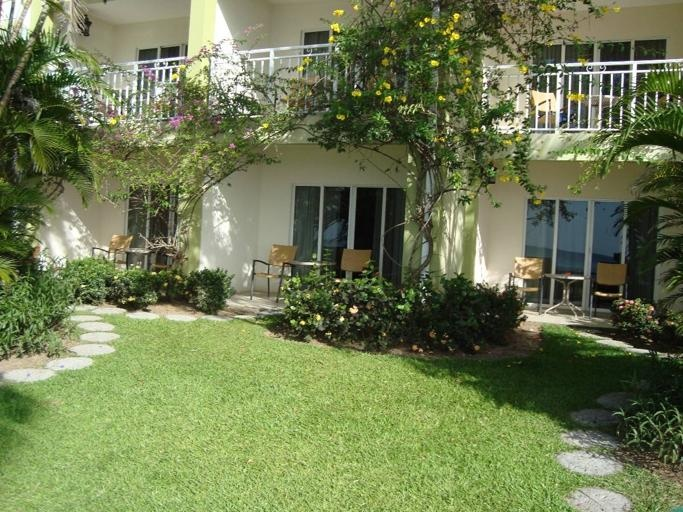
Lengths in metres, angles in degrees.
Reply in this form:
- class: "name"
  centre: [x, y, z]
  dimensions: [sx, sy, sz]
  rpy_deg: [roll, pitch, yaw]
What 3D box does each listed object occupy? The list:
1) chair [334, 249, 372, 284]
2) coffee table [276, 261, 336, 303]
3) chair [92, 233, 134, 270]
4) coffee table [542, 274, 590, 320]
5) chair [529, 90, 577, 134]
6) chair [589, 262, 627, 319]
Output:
- class: "chair"
  centre: [0.346, 0.154, 11.854]
  dimensions: [0.617, 0.827, 0.629]
  rpy_deg: [6, -1, 14]
- class: "coffee table"
  centre: [-0.902, 0.554, 11.747]
  dimensions: [1.286, 0.801, 1.014]
  rpy_deg: [1, -2, -10]
- class: "chair"
  centre: [-5.787, -0.152, 13.209]
  dimensions: [0.858, 0.778, 1.980]
  rpy_deg: [-1, 12, -26]
- class: "coffee table"
  centre: [5.159, 0.922, 11.875]
  dimensions: [1.181, 0.961, 1.048]
  rpy_deg: [0, -3, 14]
- class: "chair"
  centre: [4.491, -3.133, 11.240]
  dimensions: [0.889, 0.992, 2.172]
  rpy_deg: [8, 12, 17]
- class: "chair"
  centre: [5.863, 0.752, 11.566]
  dimensions: [0.644, 1.214, 1.208]
  rpy_deg: [11, 13, 26]
